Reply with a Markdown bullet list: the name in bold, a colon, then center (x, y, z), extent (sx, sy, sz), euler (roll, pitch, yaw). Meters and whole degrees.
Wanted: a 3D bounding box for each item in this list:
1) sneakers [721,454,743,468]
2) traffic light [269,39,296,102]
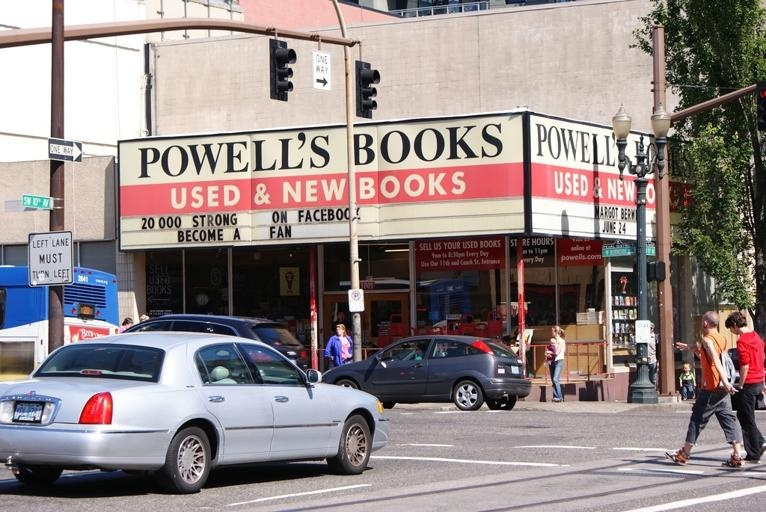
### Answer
- **sneakers**: center (5.751, 3.371, 16.725), extent (0.128, 0.175, 0.362), euler (-1, 4, -36)
- **traffic light**: center (-2.385, -4.450, 24.027), extent (0.582, 1.507, 1.273), euler (1, -5, -5)
